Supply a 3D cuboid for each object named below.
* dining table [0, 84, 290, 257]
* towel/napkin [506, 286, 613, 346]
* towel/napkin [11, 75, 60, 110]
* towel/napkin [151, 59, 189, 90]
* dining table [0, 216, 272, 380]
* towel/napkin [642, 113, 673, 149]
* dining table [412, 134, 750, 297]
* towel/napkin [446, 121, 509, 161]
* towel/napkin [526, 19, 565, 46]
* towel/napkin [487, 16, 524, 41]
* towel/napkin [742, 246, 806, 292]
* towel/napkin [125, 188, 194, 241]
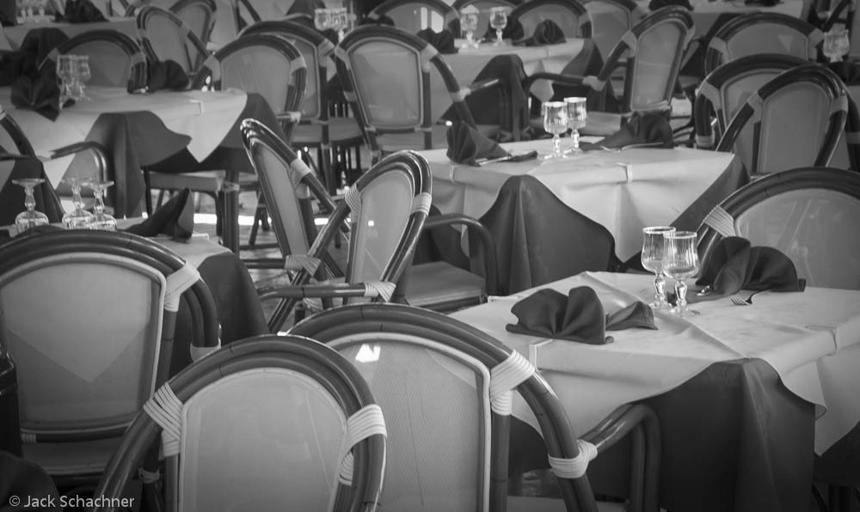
[{"bbox_3d":[-2.003,-0.833,4.880,1.434,0.715,1.476,6,15,21],"label":"dining table"},{"bbox_3d":[0.477,0.192,2.388,0.365,0.156,0.444,-25,-15,28],"label":"towel/napkin"},{"bbox_3d":[-2.659,-1.094,4.461,0.266,0.299,0.116,12,-1,-3],"label":"towel/napkin"},{"bbox_3d":[-2.068,-1.431,5.258,0.208,0.245,0.268,-1,10,-10],"label":"towel/napkin"},{"bbox_3d":[-1.166,0.149,2.945,0.739,0.403,0.780,12,18,12],"label":"dining table"},{"bbox_3d":[1.407,-0.760,4.086,0.193,0.202,0.185,1,2,32],"label":"towel/napkin"},{"bbox_3d":[0.901,-0.301,3.689,1.098,0.493,1.094,-11,16,-33],"label":"dining table"},{"bbox_3d":[0.305,-0.655,3.937,0.250,0.158,0.291,10,6,42],"label":"towel/napkin"},{"bbox_3d":[1.196,-2.286,6.809,0.280,0.158,0.376,-1,3,8],"label":"towel/napkin"},{"bbox_3d":[0.914,-2.647,7.719,0.373,0.272,0.503,3,6,5],"label":"towel/napkin"},{"bbox_3d":[1.331,0.065,2.570,0.161,0.099,0.209,-1,-9,27],"label":"towel/napkin"},{"bbox_3d":[-1.304,-0.184,3.067,0.432,0.244,0.149,-2,-7,31],"label":"towel/napkin"}]
